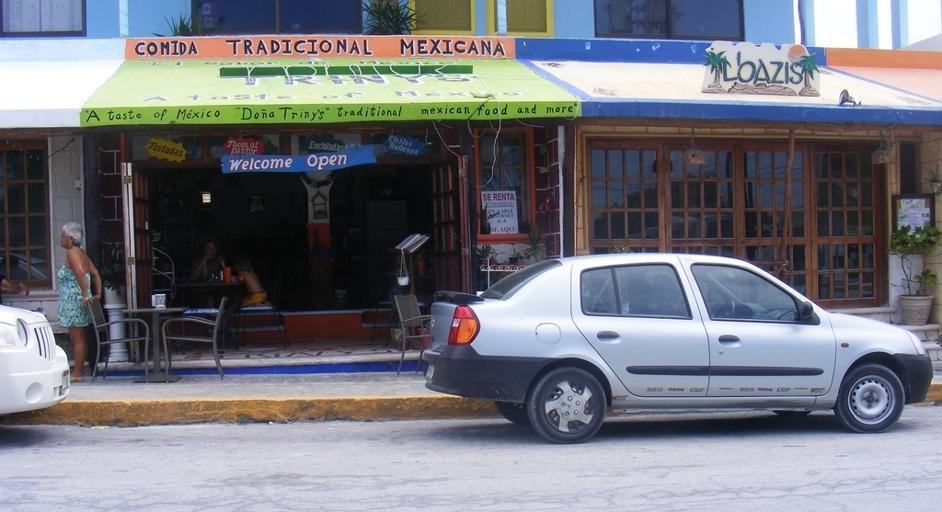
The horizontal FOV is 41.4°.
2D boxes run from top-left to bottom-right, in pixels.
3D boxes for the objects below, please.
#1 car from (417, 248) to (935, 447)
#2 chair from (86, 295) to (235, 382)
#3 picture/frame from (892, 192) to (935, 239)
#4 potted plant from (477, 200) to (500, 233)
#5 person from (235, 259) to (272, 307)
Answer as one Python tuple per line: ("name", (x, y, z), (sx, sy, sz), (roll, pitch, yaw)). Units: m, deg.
("car", (3.553, 1.539, 22.938), (8.325, 2.606, 3.535), (-2, -1, -6))
("chair", (-6.285, 1.618, 24.953), (2.550, 1.713, 1.831), (-2, 2, -2))
("picture/frame", (9.823, -0.874, 27.558), (1.118, 0.953, 0.103), (-2, 1, 5))
("potted plant", (0.319, -0.827, 26.898), (0.701, 0.671, 0.547), (4, -4, -41))
("person", (-4.913, 0.594, 27.722), (0.657, 0.985, 0.960), (-3, 2, -17))
